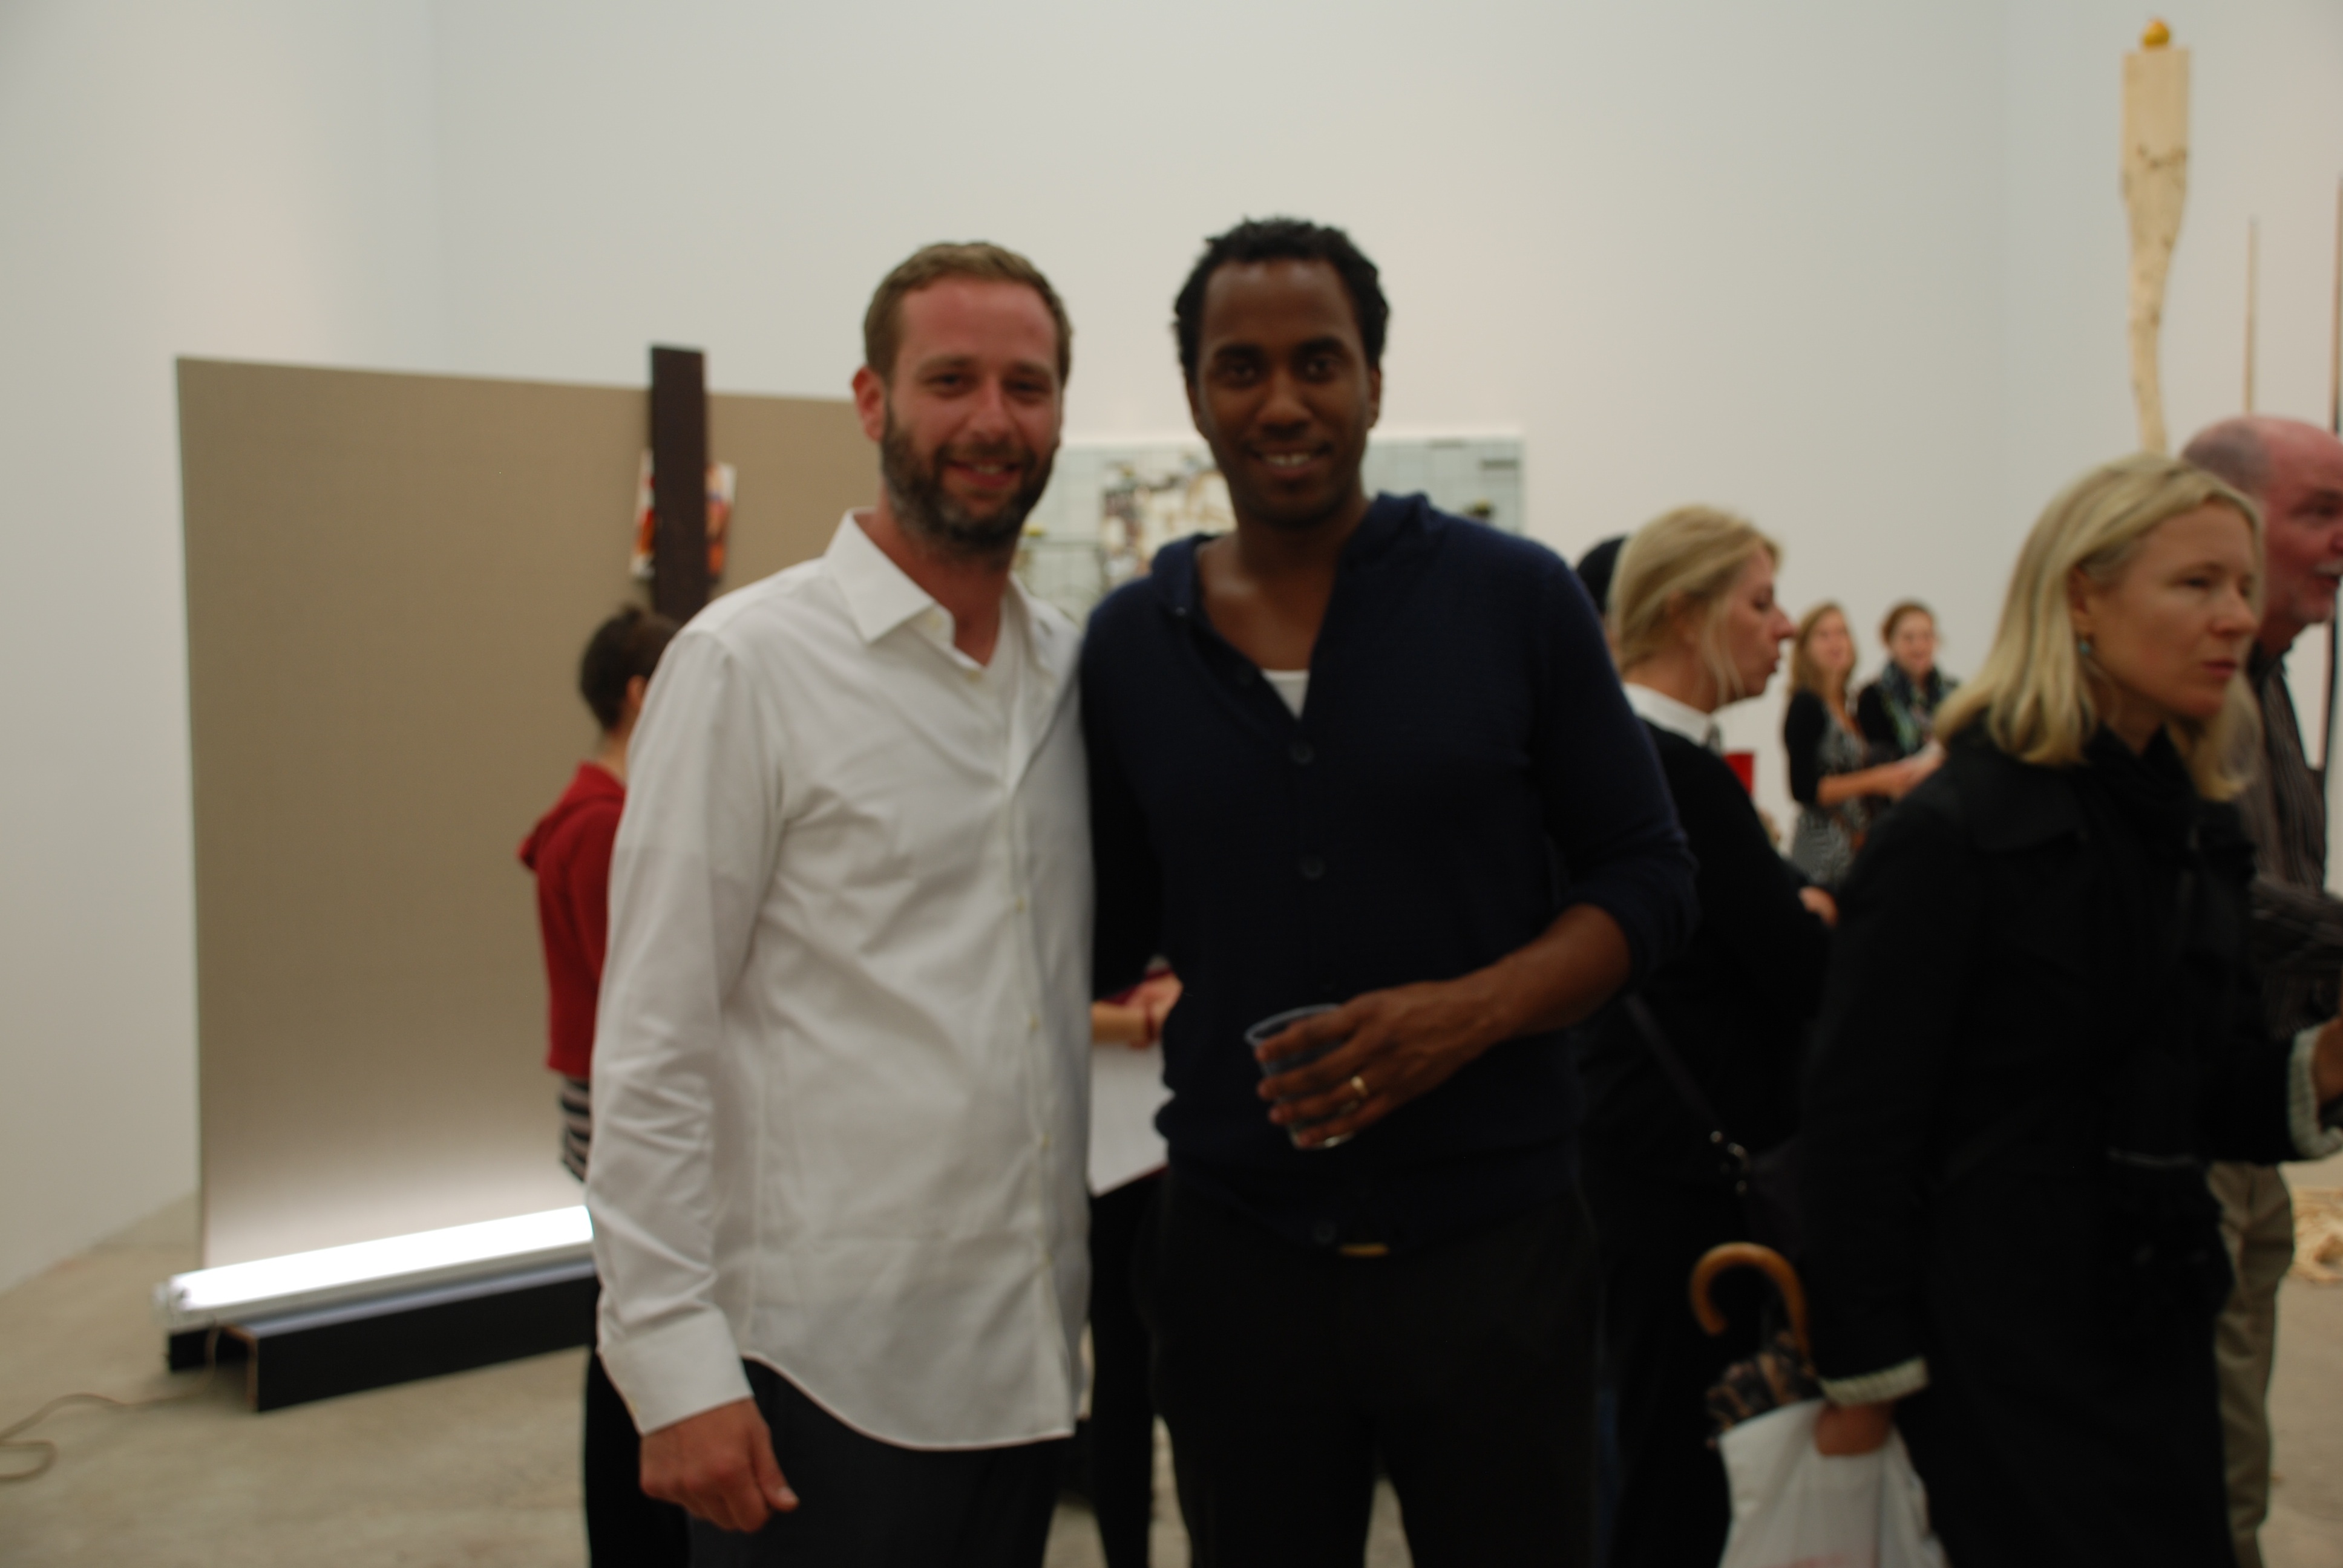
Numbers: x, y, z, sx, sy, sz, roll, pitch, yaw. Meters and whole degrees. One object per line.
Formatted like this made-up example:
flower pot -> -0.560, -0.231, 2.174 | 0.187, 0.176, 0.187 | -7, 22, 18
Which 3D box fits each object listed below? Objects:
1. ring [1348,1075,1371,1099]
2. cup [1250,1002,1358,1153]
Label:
ring -> 0.346, 0.562, 3.961 | 0.034, 0.035, 0.005 | -2, 8, 0
cup -> 0.206, 0.550, 3.991 | 0.255, 0.252, 0.239 | -3, -1, 0
